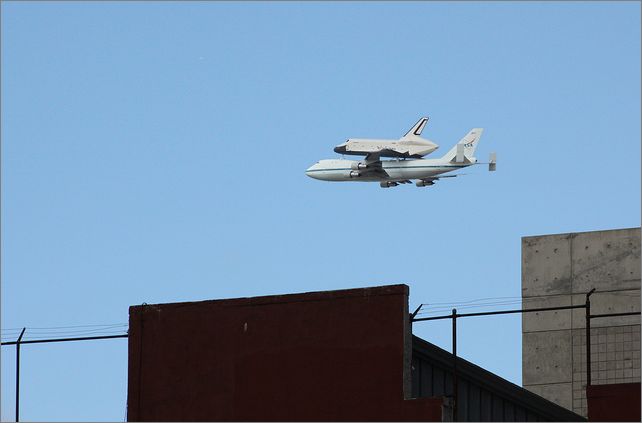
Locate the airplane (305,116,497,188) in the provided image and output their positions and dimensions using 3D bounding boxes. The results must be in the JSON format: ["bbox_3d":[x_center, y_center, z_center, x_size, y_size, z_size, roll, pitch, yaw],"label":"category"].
[{"bbox_3d":[5.251,-4.060,110.939,11.996,4.912,13.319,2,-7,21],"label":"airplane"}]
